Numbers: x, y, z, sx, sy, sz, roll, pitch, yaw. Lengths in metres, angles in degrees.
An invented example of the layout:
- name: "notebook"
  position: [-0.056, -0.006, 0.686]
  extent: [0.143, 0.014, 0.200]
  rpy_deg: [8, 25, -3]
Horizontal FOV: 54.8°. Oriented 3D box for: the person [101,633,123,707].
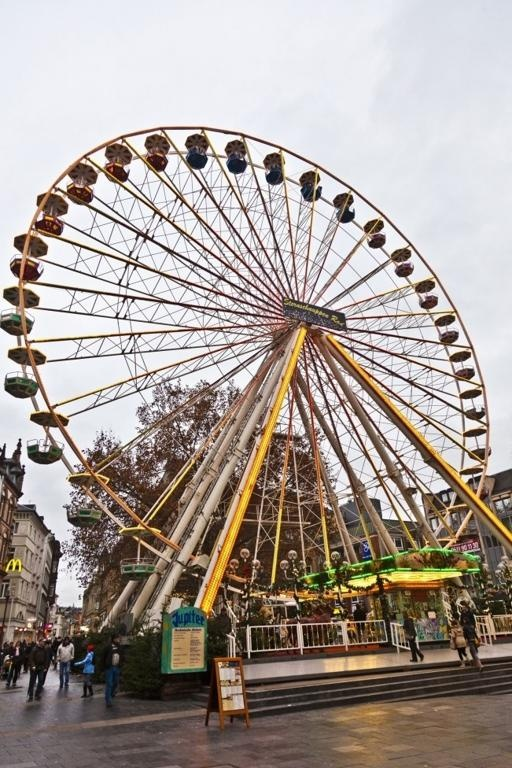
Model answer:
- name: "person"
  position: [-3.536, 6.997, 12.018]
  extent: [0.385, 1.441, 1.870]
  rpy_deg: [3, -25, -15]
